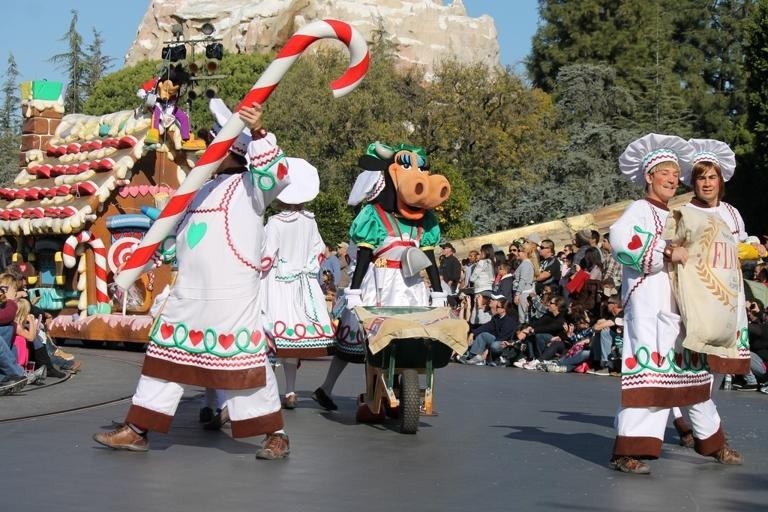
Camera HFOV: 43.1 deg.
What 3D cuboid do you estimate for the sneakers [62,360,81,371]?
[{"bbox_3d":[-4.589,1.602,14.337,0.200,0.197,0.463,0,2,-23],"label":"sneakers"}]

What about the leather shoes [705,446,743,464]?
[{"bbox_3d":[3.523,2.056,10.071,0.300,0.126,0.152,-6,3,14],"label":"leather shoes"}]

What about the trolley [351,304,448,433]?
[{"bbox_3d":[0.251,1.189,11.864,1.063,1.438,2.374,3,9,-4],"label":"trolley"}]

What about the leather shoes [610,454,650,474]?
[{"bbox_3d":[2.423,2.058,9.667,0.331,0.156,0.162,-1,2,20],"label":"leather shoes"}]

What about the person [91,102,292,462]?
[{"bbox_3d":[-1.717,0.249,9.893,1.570,3.555,0.617,1,4,-6],"label":"person"}]

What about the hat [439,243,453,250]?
[{"bbox_3d":[1.246,-0.229,19.707,0.225,0.084,0.146,8,5,29],"label":"hat"}]

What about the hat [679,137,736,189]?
[{"bbox_3d":[3.453,-1.108,10.529,0.536,0.164,0.536,30,-43,-24],"label":"hat"}]

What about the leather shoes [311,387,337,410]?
[{"bbox_3d":[-0.769,1.800,12.174,0.194,0.158,0.432,-26,-45,18],"label":"leather shoes"}]

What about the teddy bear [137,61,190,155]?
[{"bbox_3d":[-4.283,-3.091,19.441,1.088,1.744,0.738,5,-7,-36],"label":"teddy bear"}]

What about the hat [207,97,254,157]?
[{"bbox_3d":[-1.554,-1.370,10.170,0.238,0.623,0.559,-40,22,-8],"label":"hat"}]

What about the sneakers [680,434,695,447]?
[{"bbox_3d":[3.300,2.029,10.709,0.179,0.121,0.073,2,-2,-26],"label":"sneakers"}]

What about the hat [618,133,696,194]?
[{"bbox_3d":[2.850,-1.095,10.180,0.666,0.245,0.663,-3,-11,30],"label":"hat"}]
